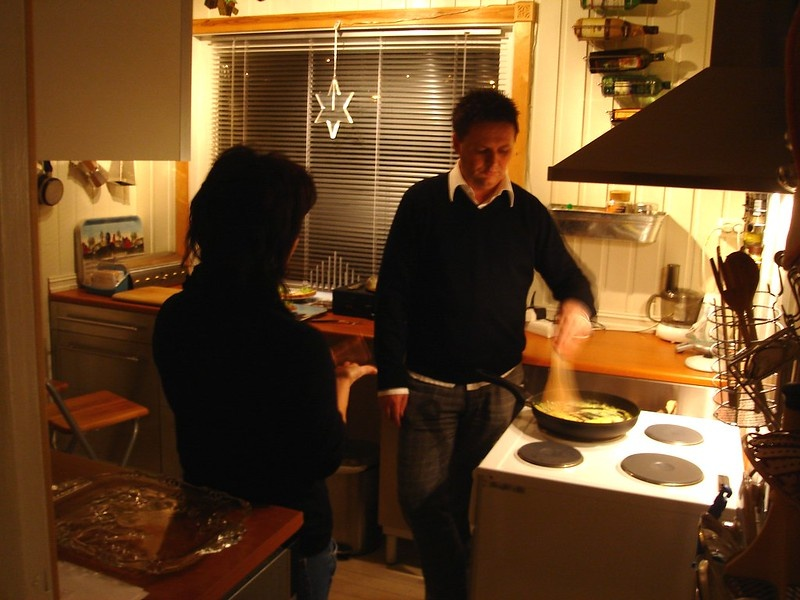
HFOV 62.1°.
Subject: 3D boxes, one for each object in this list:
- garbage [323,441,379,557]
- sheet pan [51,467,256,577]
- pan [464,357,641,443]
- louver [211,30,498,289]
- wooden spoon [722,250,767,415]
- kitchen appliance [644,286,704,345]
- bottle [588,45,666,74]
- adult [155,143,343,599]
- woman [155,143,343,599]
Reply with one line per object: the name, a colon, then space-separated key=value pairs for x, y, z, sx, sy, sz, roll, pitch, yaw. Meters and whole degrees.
garbage: x=-0.205 y=0.902 z=2.982 sx=0.245 sy=0.407 sz=0.275 roll=-4 pitch=-7 yaw=32
sheet pan: x=-0.523 y=0.449 z=1.351 sx=0.287 sy=0.041 sz=0.215 roll=12 pitch=15 yaw=29
pan: x=0.482 y=0.267 z=2.079 sx=0.424 sy=0.075 sz=0.238 roll=10 pitch=13 yaw=43
louver: x=-0.120 y=-0.617 z=2.763 sx=1.349 sy=1.163 sz=0.142 roll=3 pitch=9 yaw=20
wooden spoon: x=0.696 y=0.048 z=1.339 sx=0.035 sy=0.326 sz=0.064 roll=34 pitch=-39 yaw=-27
kitchen appliance: x=1.183 y=0.066 z=2.888 sx=0.232 sy=0.229 sz=0.167 roll=5 pitch=8 yaw=22
bottle: x=0.957 y=-0.987 z=2.748 sx=0.352 sy=0.116 sz=0.118 roll=4 pitch=3 yaw=22
adult: x=-0.346 y=0.234 z=1.547 sx=0.433 sy=1.156 sz=0.270 roll=1 pitch=8 yaw=-6
woman: x=-0.344 y=0.236 z=1.534 sx=0.431 sy=1.156 sz=0.254 roll=1 pitch=8 yaw=-12
